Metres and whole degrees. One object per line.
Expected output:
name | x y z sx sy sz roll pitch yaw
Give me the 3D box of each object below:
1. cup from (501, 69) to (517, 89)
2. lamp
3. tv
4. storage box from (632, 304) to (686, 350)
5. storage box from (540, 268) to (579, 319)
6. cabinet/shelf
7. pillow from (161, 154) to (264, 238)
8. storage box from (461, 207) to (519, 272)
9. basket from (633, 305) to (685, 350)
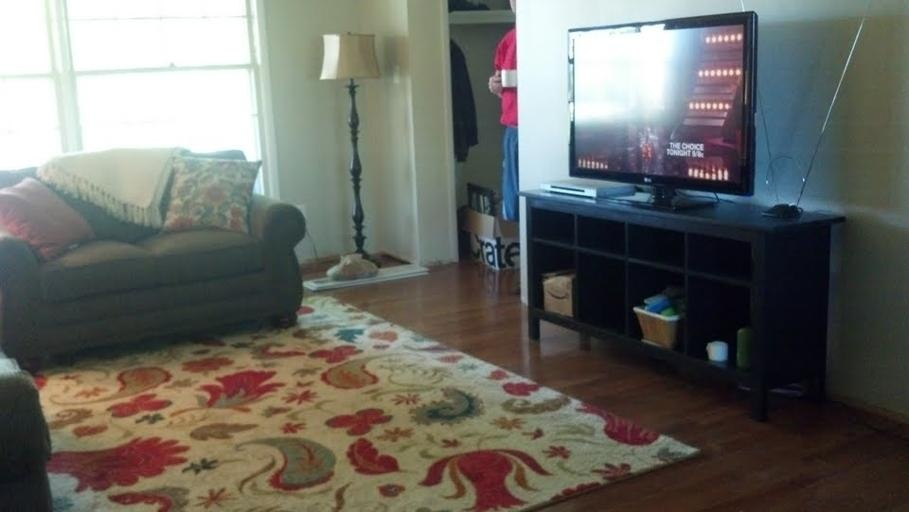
cup | 0.457 -1.519 5.992 0.171 0.137 0.150 -1 21 -4
lamp | -0.943 -0.975 6.738 0.576 2.236 0.863 -5 21 -7
tv | 1.307 -0.933 4.418 0.356 1.124 1.281 -18 25 -35
storage box | 1.286 0.444 4.429 0.278 0.193 0.304 0 4 0
storage box | 0.744 0.258 5.092 0.333 0.289 0.354 -7 16 -10
cabinet/shelf | 1.470 0.313 4.353 0.467 0.702 1.539 -15 19 -38
pillow | -1.986 -0.461 5.594 0.812 0.631 0.229 5 -12 20
storage box | 0.442 -0.188 6.942 0.517 0.428 0.699 -5 15 -27
basket | 1.277 0.453 4.444 0.278 0.190 0.297 0 3 -4
